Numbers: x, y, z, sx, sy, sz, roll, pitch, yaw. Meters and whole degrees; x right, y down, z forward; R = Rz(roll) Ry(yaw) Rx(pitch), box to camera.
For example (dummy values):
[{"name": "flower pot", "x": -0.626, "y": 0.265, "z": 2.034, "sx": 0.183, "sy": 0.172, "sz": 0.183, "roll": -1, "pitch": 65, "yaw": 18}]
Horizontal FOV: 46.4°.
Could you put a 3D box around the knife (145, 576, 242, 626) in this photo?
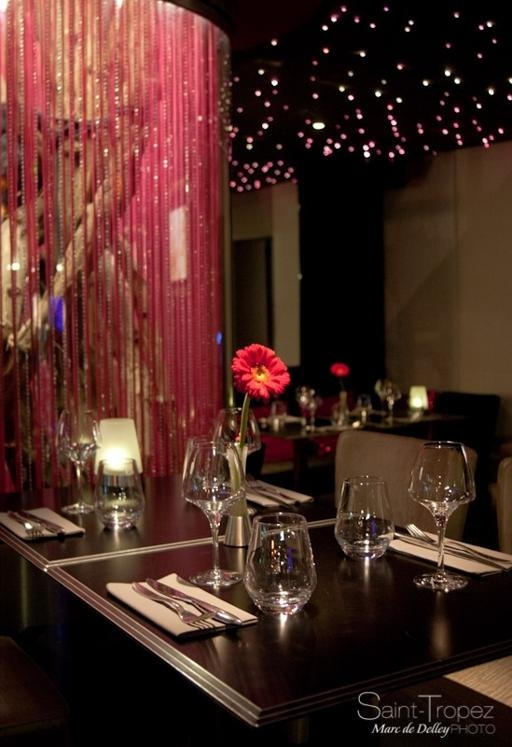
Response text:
[{"name": "knife", "x": -0.086, "y": 0.309, "z": 0.810, "sx": 0.027, "sy": 0.012, "sz": 0.232, "roll": -10, "pitch": 7, "yaw": -31}]

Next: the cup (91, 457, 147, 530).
[{"name": "cup", "x": -0.278, "y": 0.271, "z": 1.301, "sx": 0.125, "sy": 0.199, "sz": 0.136, "roll": 1, "pitch": 7, "yaw": 0}]

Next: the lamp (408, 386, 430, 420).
[{"name": "lamp", "x": 0.933, "y": 0.168, "z": 3.459, "sx": 0.049, "sy": 0.181, "sz": 0.173, "roll": 1, "pitch": -3, "yaw": -18}]

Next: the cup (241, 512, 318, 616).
[{"name": "cup", "x": 0.033, "y": 0.254, "z": 0.789, "sx": 0.089, "sy": 0.134, "sz": 0.142, "roll": 0, "pitch": -3, "yaw": 4}]

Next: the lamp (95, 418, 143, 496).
[{"name": "lamp", "x": -0.415, "y": 0.229, "z": 1.708, "sx": 0.183, "sy": 0.226, "sz": 0.206, "roll": -1, "pitch": -4, "yaw": -5}]

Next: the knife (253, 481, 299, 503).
[{"name": "knife", "x": 0.049, "y": 0.313, "z": 1.622, "sx": 0.038, "sy": 0.035, "sz": 0.369, "roll": -7, "pitch": 0, "yaw": -12}]
